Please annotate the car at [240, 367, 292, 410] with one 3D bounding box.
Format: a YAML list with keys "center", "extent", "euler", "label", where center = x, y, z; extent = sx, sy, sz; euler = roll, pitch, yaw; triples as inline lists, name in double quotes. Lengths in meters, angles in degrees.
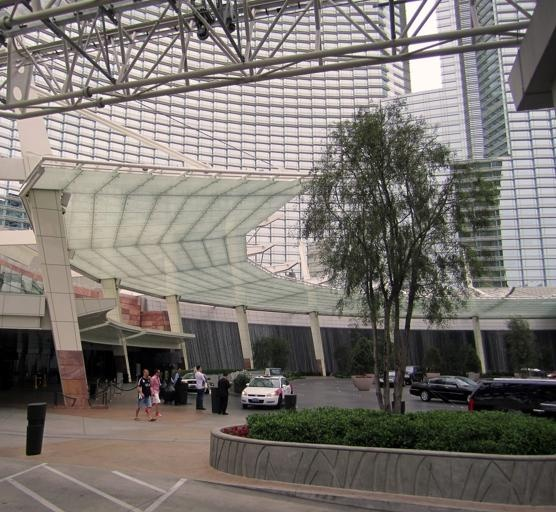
- center: [-0.591, 6.470, 23.051]
  extent: [1.685, 1.399, 2.567]
  euler: [-3, -10, 9]
  label: "car"

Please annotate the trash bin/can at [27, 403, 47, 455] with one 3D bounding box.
- center: [-5.151, 3.672, 10.398]
  extent: [0.338, 1.057, 0.662]
  euler: [4, -11, -26]
  label: "trash bin/can"
